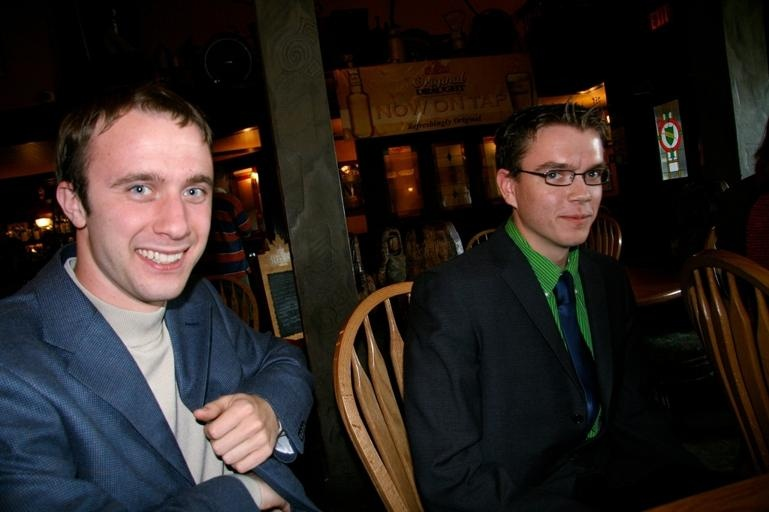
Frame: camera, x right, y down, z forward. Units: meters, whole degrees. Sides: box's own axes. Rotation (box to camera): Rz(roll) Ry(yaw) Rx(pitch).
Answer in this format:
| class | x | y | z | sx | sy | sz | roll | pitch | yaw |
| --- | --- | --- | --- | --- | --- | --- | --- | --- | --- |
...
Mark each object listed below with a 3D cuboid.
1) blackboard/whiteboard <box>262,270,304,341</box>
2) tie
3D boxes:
| class | x | y | z | sx | sy | sz | roll | pitch | yaw |
| --- | --- | --- | --- | --- | --- | --- | --- | --- | --- |
| blackboard/whiteboard | -1.066 | 0.510 | 5.804 | 0.219 | 0.717 | 0.702 | -11 | -6 | 30 |
| tie | 0.862 | 0.429 | 2.551 | 0.154 | 0.681 | 0.099 | -4 | -13 | -9 |
